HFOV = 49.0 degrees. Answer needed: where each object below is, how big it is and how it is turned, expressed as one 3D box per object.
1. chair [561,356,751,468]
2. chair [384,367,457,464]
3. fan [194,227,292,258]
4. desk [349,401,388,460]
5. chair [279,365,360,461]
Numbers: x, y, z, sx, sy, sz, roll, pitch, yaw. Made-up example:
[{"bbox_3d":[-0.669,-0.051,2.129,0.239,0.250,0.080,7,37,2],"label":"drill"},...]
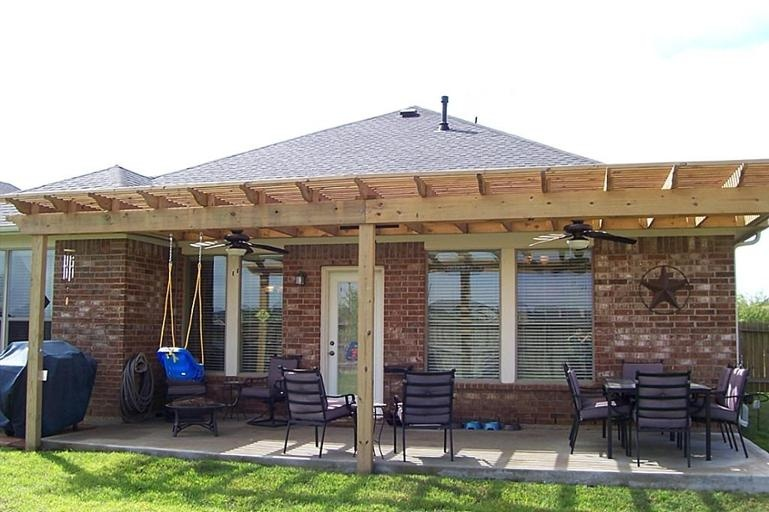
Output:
[{"bbox_3d":[5.349,3.084,16.662,3.541,1.829,2.032,0,-7,7],"label":"chair"},{"bbox_3d":[0.784,3.096,16.637,1.198,1.674,1.410,1,-7,1],"label":"chair"},{"bbox_3d":[-3.243,-0.278,18.993,2.196,0.723,2.851,2,-7,-12],"label":"fan"},{"bbox_3d":[-0.335,3.535,17.581,0.732,0.942,0.679,-3,1,0],"label":"desk"},{"bbox_3d":[-1.391,3.110,16.980,1.525,1.677,2.064,-4,-8,2],"label":"chair"}]
